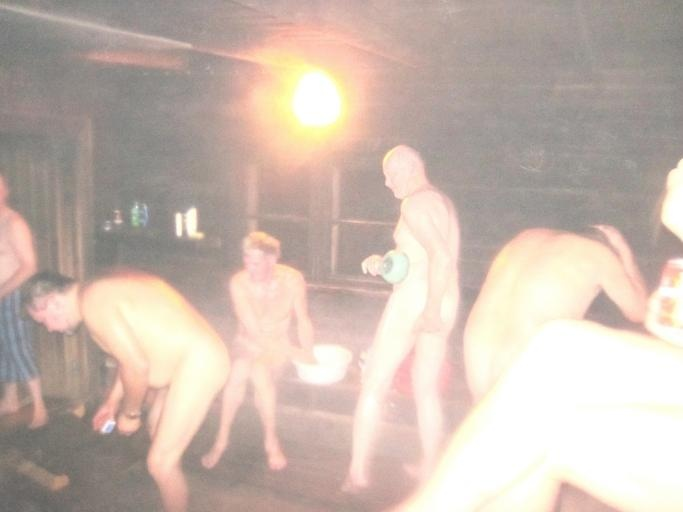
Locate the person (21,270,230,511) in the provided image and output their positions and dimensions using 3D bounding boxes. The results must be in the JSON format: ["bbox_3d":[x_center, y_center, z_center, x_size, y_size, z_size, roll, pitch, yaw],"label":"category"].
[{"bbox_3d":[-1.181,0.767,3.991,0.991,1.368,0.525,7,9,21],"label":"person"}]
